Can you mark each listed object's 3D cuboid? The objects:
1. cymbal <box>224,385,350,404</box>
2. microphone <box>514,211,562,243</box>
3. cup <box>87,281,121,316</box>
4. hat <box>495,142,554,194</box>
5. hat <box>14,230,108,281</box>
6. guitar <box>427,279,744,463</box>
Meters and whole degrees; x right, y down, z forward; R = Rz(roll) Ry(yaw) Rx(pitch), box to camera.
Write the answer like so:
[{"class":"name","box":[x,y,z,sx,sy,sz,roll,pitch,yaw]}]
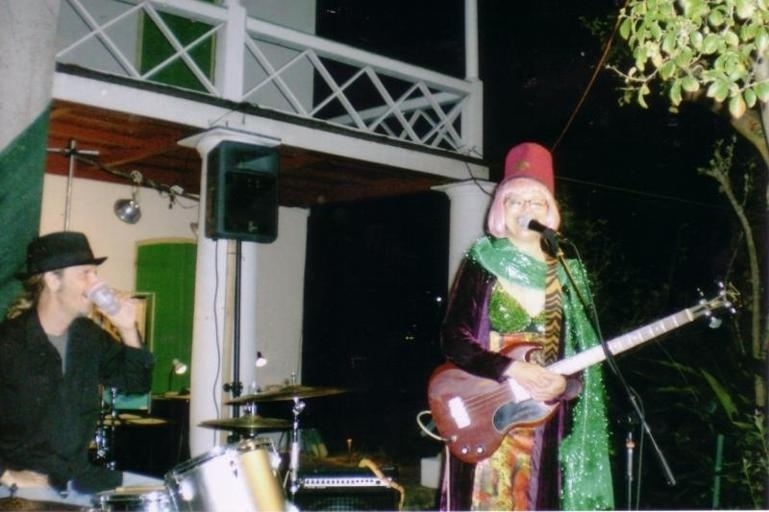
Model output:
[{"class":"cymbal","box":[-0.893,1.323,8.518,0.647,0.155,0.636,10,-17,-41]},{"class":"microphone","box":[1.047,-0.188,6.067,0.406,0.123,0.117,23,26,5]},{"class":"cup","box":[-2.036,0.315,6.502,0.283,0.258,0.117,-7,-13,32]},{"class":"hat","box":[1.024,-0.649,6.313,0.324,0.343,0.352,20,-17,-37]},{"class":"hat","box":[-2.443,-0.011,6.741,0.461,0.180,0.391,-16,-4,-1]},{"class":"guitar","box":[1.580,0.904,6.641,1.663,0.550,0.226,-23,-6,-1]}]
